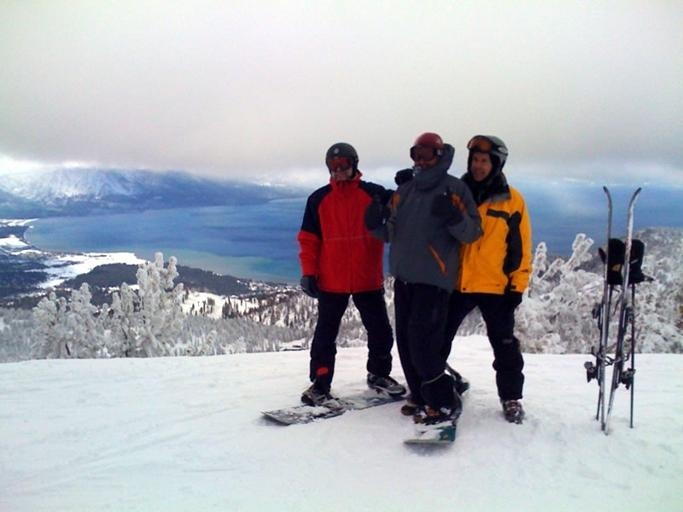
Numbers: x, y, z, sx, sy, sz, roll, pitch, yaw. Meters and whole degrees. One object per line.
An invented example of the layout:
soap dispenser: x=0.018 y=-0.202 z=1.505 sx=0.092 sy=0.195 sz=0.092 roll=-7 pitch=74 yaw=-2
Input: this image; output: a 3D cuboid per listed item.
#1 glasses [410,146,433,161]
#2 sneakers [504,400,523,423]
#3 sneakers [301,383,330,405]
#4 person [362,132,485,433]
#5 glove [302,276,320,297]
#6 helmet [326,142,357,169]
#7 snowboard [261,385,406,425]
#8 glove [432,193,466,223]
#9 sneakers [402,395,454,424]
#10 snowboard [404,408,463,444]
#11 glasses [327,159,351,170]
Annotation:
glasses: x=0.905 y=-1.129 z=6.039 sx=0.209 sy=0.134 sz=0.273 roll=4 pitch=5 yaw=40
sneakers: x=1.985 y=1.791 z=6.189 sx=0.145 sy=0.108 sz=0.272 roll=-3 pitch=11 yaw=6
sneakers: x=-0.330 y=1.748 z=6.744 sx=0.424 sy=0.183 sz=0.172 roll=-3 pitch=14 yaw=-20
person: x=0.970 y=0.287 z=6.146 sx=1.137 sy=3.280 sz=0.614 roll=3 pitch=7 yaw=43
glove: x=-0.401 y=0.403 z=6.826 sx=0.220 sy=0.255 sz=0.277 roll=-4 pitch=-2 yaw=-18
helmet: x=0.009 y=-1.209 z=6.488 sx=0.364 sy=0.259 sz=0.288 roll=-2 pitch=6 yaw=-3
snowboard: x=0.026 y=1.826 z=6.739 sx=2.107 sy=0.288 sz=0.558 roll=0 pitch=3 yaw=-34
glove: x=1.140 y=-0.480 z=5.758 sx=0.324 sy=0.322 sz=0.084 roll=0 pitch=6 yaw=10
sneakers: x=1.008 y=1.777 z=6.123 sx=0.470 sy=0.192 sz=0.251 roll=14 pitch=-20 yaw=-41
snowboard: x=0.990 y=1.924 z=5.881 sx=0.605 sy=0.182 sz=0.433 roll=-1 pitch=6 yaw=3
glasses: x=-0.025 y=-1.098 z=6.547 sx=0.217 sy=0.096 sz=0.252 roll=-1 pitch=4 yaw=10
